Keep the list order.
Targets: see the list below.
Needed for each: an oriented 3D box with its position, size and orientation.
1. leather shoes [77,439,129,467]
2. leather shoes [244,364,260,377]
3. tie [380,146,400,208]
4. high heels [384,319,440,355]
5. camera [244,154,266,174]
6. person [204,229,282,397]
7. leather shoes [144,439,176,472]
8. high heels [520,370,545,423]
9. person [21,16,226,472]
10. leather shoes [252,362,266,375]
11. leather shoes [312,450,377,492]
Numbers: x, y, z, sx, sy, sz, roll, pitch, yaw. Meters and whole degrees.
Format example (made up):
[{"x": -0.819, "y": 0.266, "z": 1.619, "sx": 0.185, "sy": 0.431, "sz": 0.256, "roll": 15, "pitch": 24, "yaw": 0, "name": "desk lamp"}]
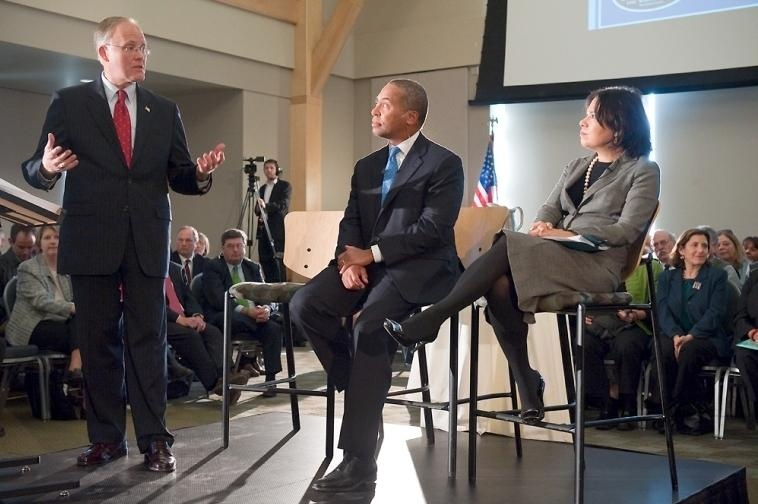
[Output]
[{"x": -1.322, "y": 0.961, "z": 2.950, "sx": 0.076, "sy": 0.102, "sz": 0.215, "roll": -6, "pitch": -12, "yaw": 36, "name": "leather shoes"}, {"x": -1.199, "y": 1.105, "z": 5.806, "sx": 0.085, "sy": 0.104, "sz": 0.243, "roll": 3, "pitch": -11, "yaw": -26, "name": "leather shoes"}, {"x": 0.041, "y": -0.368, "z": 3.024, "sx": 0.069, "sy": 0.333, "sz": 0.046, "roll": 0, "pitch": -38, "yaw": 28, "name": "tie"}, {"x": 0.178, "y": 0.365, "z": 2.675, "sx": 0.303, "sy": 0.101, "sz": 0.137, "roll": 8, "pitch": -41, "yaw": -9, "name": "high heels"}, {"x": -1.851, "y": -1.257, "z": 8.988, "sx": 0.361, "sy": 0.357, "sz": 0.281, "roll": 0, "pitch": 1, "yaw": 9, "name": "camera"}, {"x": -1.195, "y": 0.510, "z": 5.577, "sx": 0.796, "sy": 1.422, "sz": 0.567, "roll": -3, "pitch": -3, "yaw": 29, "name": "person"}, {"x": -1.024, "y": 0.941, "z": 2.882, "sx": 0.145, "sy": 0.131, "sz": 0.148, "roll": 2, "pitch": -5, "yaw": -17, "name": "leather shoes"}, {"x": 0.689, "y": 0.654, "z": 2.701, "sx": 0.077, "sy": 0.266, "sz": 0.112, "roll": -8, "pitch": 8, "yaw": 15, "name": "high heels"}, {"x": -1.212, "y": -0.042, "z": 2.948, "sx": 0.841, "sy": 2.028, "sz": 0.715, "roll": 0, "pitch": 5, "yaw": -14, "name": "person"}, {"x": -1.172, "y": 1.145, "z": 6.139, "sx": 0.130, "sy": 0.156, "sz": 0.385, "roll": 2, "pitch": -13, "yaw": -19, "name": "leather shoes"}, {"x": -0.133, "y": 0.943, "z": 2.683, "sx": 0.296, "sy": 0.135, "sz": 0.117, "roll": 2, "pitch": -6, "yaw": -28, "name": "leather shoes"}]
